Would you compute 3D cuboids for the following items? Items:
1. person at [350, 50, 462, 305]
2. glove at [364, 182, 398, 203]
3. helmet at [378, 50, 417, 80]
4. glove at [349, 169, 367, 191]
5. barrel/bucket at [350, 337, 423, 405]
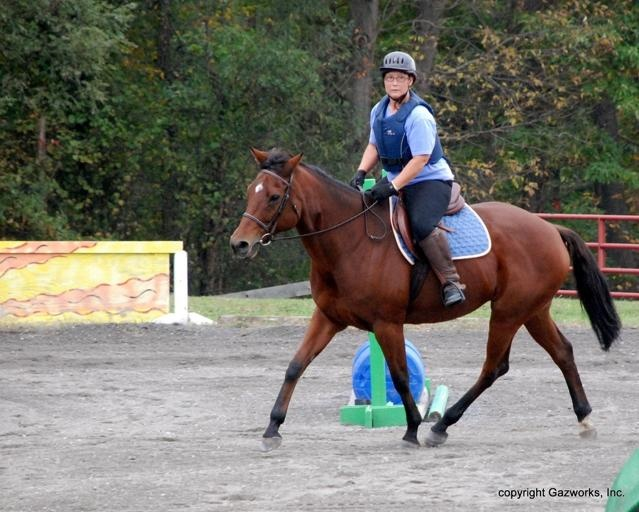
[{"bbox_3d":[1.160,-0.967,15.469,1.493,2.968,0.865,4,12,19],"label":"person"},{"bbox_3d":[0.756,-0.769,15.257,0.320,0.112,0.239,-31,19,-13],"label":"glove"},{"bbox_3d":[1.037,-2.351,15.477,0.297,0.213,0.402,4,-13,28],"label":"helmet"},{"bbox_3d":[0.495,-0.950,15.811,0.193,0.252,0.085,34,1,2],"label":"glove"},{"bbox_3d":[0.891,1.438,16.381,0.857,0.776,0.850,-1,5,0],"label":"barrel/bucket"}]
